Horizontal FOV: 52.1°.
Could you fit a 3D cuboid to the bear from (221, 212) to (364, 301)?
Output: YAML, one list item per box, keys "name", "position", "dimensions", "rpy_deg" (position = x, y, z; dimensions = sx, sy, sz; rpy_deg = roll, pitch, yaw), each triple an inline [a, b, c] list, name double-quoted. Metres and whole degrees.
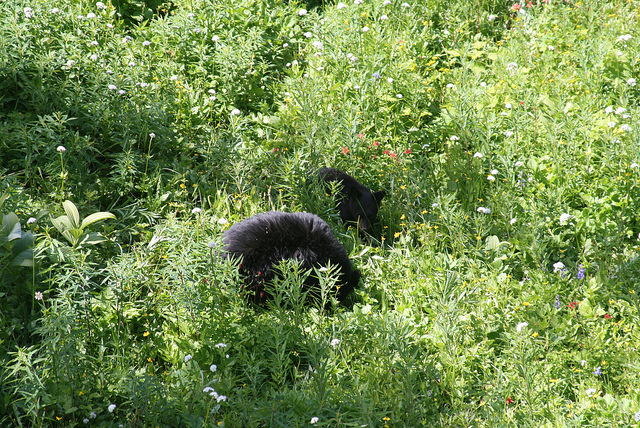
- name: "bear"
  position: [-0.252, 0.405, 6.206]
  dimensions: [1.457, 0.893, 0.888]
  rpy_deg: [-1, 36, 10]

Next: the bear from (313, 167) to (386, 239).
- name: "bear"
  position: [0.258, -0.099, 6.715]
  dimensions: [0.383, 0.547, 1.008]
  rpy_deg: [3, 18, -32]
